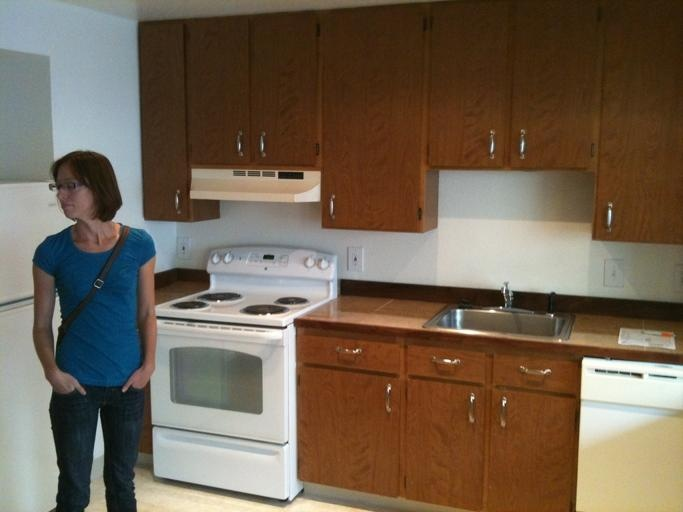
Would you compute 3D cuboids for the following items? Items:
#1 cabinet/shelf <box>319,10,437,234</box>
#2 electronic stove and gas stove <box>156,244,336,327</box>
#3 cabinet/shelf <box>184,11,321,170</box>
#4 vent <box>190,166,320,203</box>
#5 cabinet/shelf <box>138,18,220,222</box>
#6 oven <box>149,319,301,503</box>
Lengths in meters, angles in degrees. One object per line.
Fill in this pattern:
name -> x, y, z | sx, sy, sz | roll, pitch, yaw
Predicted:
cabinet/shelf -> 0.177, -0.761, 3.178 | 0.608, 1.212, 0.258 | 1, 14, 7
electronic stove and gas stove -> -0.539, 0.156, 3.453 | 0.917, 0.299, 0.772 | 4, 14, 17
cabinet/shelf -> -0.502, -1.006, 3.502 | 0.868, 0.870, 0.335 | 3, 11, 12
vent -> -0.546, -0.426, 3.410 | 0.872, 0.196, 0.144 | 5, 15, 20
cabinet/shelf -> -1.074, -0.874, 3.732 | 0.323, 1.296, 0.370 | 6, 22, 4
oven -> -0.605, 0.832, 3.508 | 0.923, 1.043, 0.716 | 1, 2, 21
